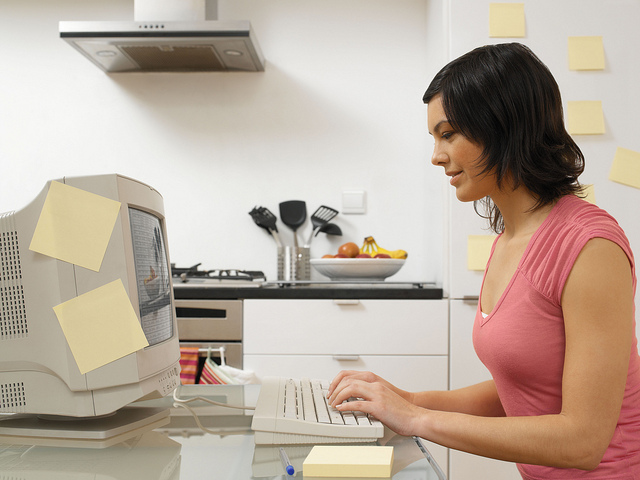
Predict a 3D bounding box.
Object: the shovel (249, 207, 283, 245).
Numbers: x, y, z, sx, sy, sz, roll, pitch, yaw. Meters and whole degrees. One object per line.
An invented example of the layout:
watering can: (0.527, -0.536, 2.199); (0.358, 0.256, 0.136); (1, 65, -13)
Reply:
shovel: (-0.269, -0.090, 2.681); (0.082, 0.259, 0.038); (-33, -26, -18)

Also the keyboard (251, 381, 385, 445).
keyboard: (-0.027, 0.370, 1.255); (0.248, 0.068, 0.389); (1, -3, -6)

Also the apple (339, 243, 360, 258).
apple: (0.127, 0.045, 2.450); (0.070, 0.067, 0.067); (0, 1, 38)

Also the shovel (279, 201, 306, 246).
shovel: (-0.114, -0.085, 2.659); (0.112, 0.205, 0.115); (-12, 14, -43)

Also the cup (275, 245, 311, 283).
cup: (-0.113, 0.109, 2.628); (0.141, 0.183, 0.192); (-1, 0, 12)
